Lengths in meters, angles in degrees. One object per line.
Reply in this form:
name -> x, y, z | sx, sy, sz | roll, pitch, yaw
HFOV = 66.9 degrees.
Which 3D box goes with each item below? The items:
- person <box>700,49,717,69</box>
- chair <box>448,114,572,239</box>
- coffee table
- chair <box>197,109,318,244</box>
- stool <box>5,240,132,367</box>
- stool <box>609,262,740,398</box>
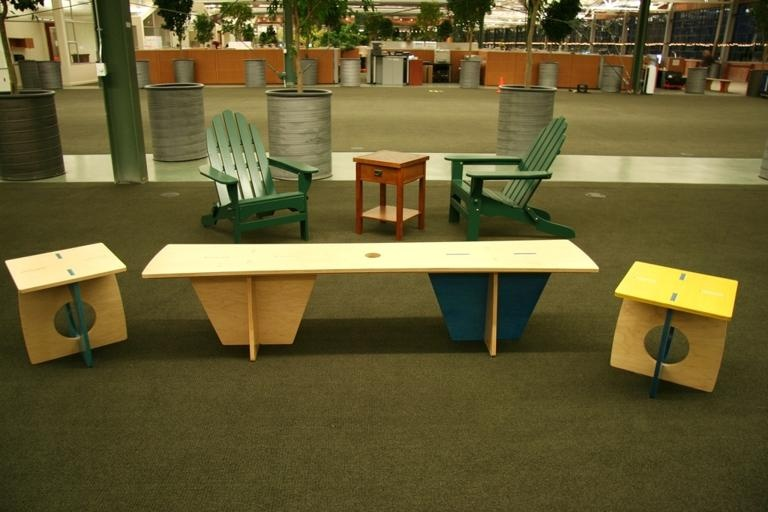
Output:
person -> 13.017, -7.824, 23.330 | 0.521, 0.651, 1.411 | 10, 22, 25
chair -> 1.380, -0.820, 6.339 | 1.274, 1.157, 1.164 | -1, 21, -2
coffee table -> 0.084, -0.664, 6.382 | 0.755, 0.709, 0.684 | 5, 17, 15
chair -> -1.448, -0.838, 6.241 | 1.060, 1.024, 1.193 | -16, 33, -34
stool -> -2.234, 0.356, 4.175 | 0.687, 0.693, 0.673 | -14, 25, -31
stool -> 1.940, 0.507, 3.948 | 0.676, 0.711, 0.658 | 12, 24, 28
